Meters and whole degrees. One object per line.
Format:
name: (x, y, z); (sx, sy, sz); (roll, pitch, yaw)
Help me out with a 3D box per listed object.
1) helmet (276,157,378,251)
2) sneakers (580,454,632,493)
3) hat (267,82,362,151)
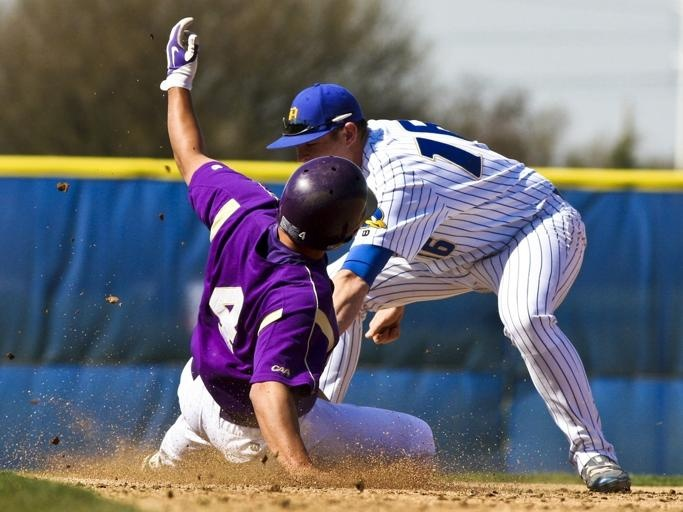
helmet: (-0.077, -0.320, 7.628); (0.432, 0.294, 0.568); (39, 64, 11)
sneakers: (1.707, 1.413, 8.407); (0.243, 0.154, 0.273); (-14, 39, -15)
hat: (-0.184, -0.946, 8.699); (0.544, 0.318, 0.371); (-7, 8, -20)
